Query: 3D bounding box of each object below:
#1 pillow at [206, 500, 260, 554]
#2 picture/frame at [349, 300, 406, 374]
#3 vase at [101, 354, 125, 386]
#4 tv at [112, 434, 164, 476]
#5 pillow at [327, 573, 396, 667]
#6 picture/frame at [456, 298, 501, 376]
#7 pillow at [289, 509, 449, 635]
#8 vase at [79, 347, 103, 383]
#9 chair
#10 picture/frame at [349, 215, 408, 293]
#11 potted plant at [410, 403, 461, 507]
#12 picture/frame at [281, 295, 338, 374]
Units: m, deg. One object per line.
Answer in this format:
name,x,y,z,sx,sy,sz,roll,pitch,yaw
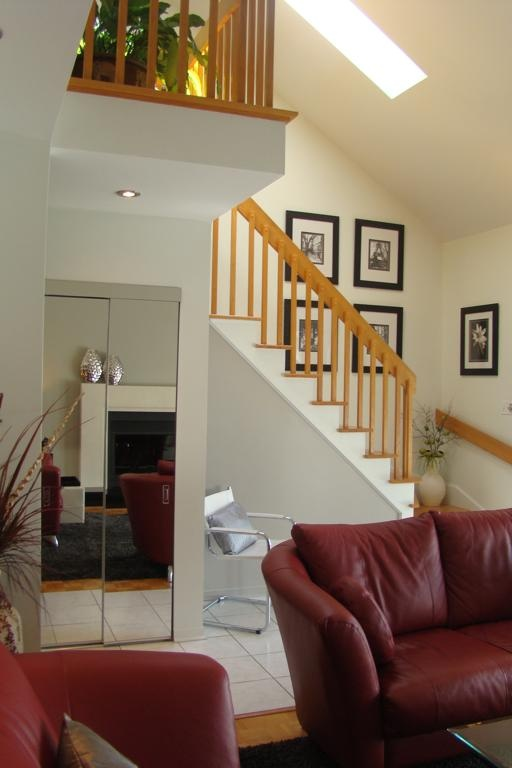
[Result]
pillow,-0.120,0.957,3.635,0.136,0.216,0.304,-28,-24,37
picture/frame,1.058,-0.426,5.305,0.710,0.876,0.035,1,-1,-29
vase,-0.789,-0.071,3.258,0.131,0.221,0.134,-1,4,-19
tv,-0.670,0.389,3.293,0.222,0.203,0.074,-1,0,-19
pillow,0.396,0.826,2.094,0.086,0.238,0.241,-27,-3,5
picture/frame,2.133,-0.456,5.675,0.042,1.046,0.730,0,1,-22
pillow,0.533,0.853,2.580,0.696,0.527,0.254,1,-12,-22
vase,-0.885,-0.097,3.187,0.045,0.173,0.126,4,3,35
chair,-0.043,1.091,3.679,0.526,0.705,0.565,4,-1,8
picture/frame,1.191,-1.302,5.939,0.765,0.943,0.046,0,-1,-24
potted plant,1.752,0.758,5.862,0.355,0.782,0.325,5,-2,-32
picture/frame,0.427,-0.443,5.127,0.438,0.682,1.117,3,2,6
